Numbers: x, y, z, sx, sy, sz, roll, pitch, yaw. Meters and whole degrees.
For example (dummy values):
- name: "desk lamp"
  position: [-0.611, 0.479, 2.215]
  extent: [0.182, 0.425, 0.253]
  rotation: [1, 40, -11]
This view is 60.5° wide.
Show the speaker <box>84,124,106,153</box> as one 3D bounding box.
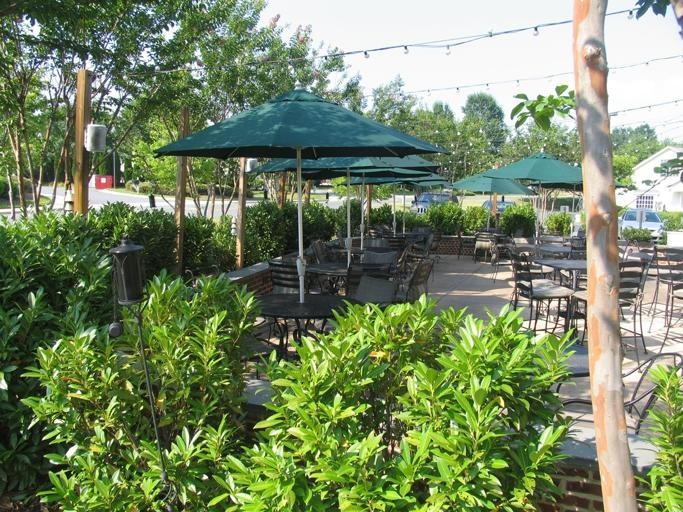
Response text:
- name: "speaker"
  position: [-3.133, -1.511, 7.455]
  extent: [0.249, 0.343, 0.342]
  rotation: [0, 2, -25]
